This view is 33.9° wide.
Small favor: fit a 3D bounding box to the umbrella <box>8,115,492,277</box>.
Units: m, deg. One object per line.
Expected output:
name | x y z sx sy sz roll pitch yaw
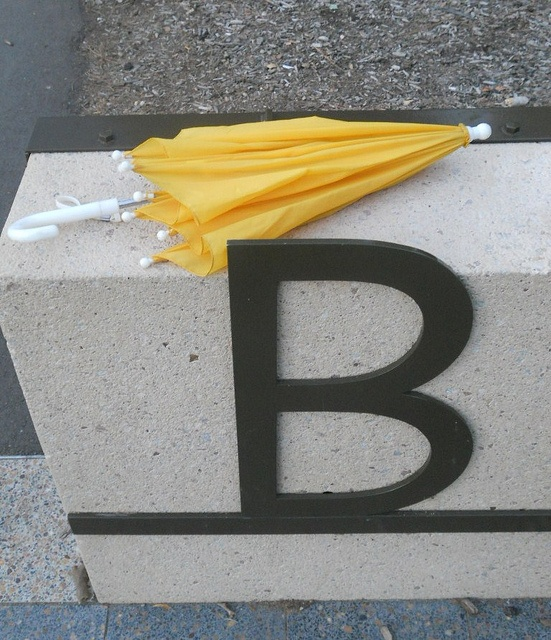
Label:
umbrella | -0.030 -0.470 2.976 1.928 0.528 0.390 -7 -57 -5
